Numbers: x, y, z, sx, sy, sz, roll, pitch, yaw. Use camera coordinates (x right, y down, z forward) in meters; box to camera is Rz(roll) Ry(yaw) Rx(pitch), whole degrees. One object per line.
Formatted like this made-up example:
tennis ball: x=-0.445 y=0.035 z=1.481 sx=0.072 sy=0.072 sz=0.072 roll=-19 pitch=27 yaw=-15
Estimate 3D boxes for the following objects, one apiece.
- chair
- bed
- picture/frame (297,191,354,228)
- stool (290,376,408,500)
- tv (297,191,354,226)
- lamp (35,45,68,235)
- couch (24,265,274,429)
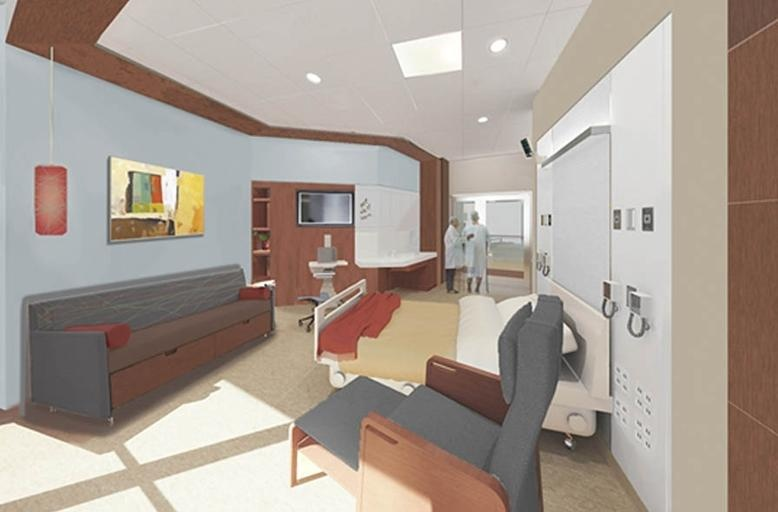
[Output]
chair: x=0.688 y=0.979 z=4.347 sx=1.728 sy=1.761 sz=1.232 roll=1 pitch=1 yaw=36
bed: x=0.836 y=0.777 z=4.517 sx=1.800 sy=0.774 sz=1.522 roll=3 pitch=6 yaw=22
picture/frame: x=-0.946 y=-0.713 z=7.467 sx=0.868 sy=0.557 sz=0.117 roll=-1 pitch=3 yaw=-14
stool: x=-0.291 y=1.270 z=3.967 sx=0.734 sy=0.614 sz=0.833 roll=12 pitch=18 yaw=41
tv: x=-0.964 y=-0.728 z=7.563 sx=0.888 sy=0.551 sz=0.133 roll=1 pitch=7 yaw=6
lamp: x=-3.125 y=-1.054 z=4.597 sx=0.260 sy=1.742 sz=0.565 roll=-5 pitch=6 yaw=-32
couch: x=-2.318 y=0.697 z=5.660 sx=0.932 sy=1.092 sz=2.826 roll=0 pitch=6 yaw=21
